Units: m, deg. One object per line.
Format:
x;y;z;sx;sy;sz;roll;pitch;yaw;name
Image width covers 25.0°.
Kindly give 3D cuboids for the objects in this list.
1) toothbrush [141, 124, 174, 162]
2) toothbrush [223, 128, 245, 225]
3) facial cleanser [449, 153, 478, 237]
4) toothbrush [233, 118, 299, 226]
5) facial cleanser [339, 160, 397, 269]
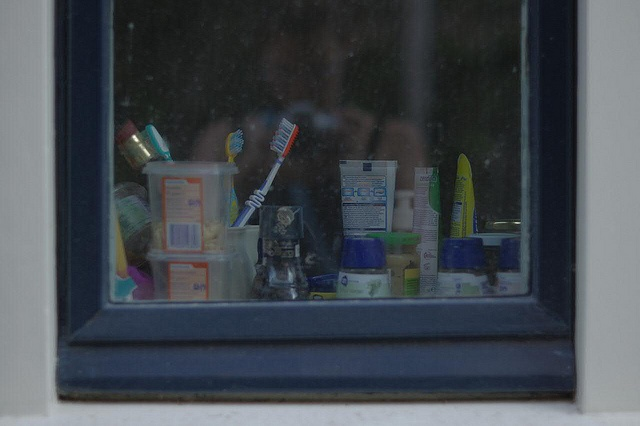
-0.386;-0.166;3.411;0.026;0.088;0.067;-27;37;8;toothbrush
-0.206;-0.099;3.491;0.054;0.195;0.025;7;-6;-15;toothbrush
0.340;-0.041;3.458;0.067;0.196;0.092;-2;3;-1;facial cleanser
-0.130;-0.099;3.488;0.140;0.252;0.097;-1;6;8;toothbrush
0.111;-0.031;3.433;0.156;0.179;0.125;0;1;2;facial cleanser
